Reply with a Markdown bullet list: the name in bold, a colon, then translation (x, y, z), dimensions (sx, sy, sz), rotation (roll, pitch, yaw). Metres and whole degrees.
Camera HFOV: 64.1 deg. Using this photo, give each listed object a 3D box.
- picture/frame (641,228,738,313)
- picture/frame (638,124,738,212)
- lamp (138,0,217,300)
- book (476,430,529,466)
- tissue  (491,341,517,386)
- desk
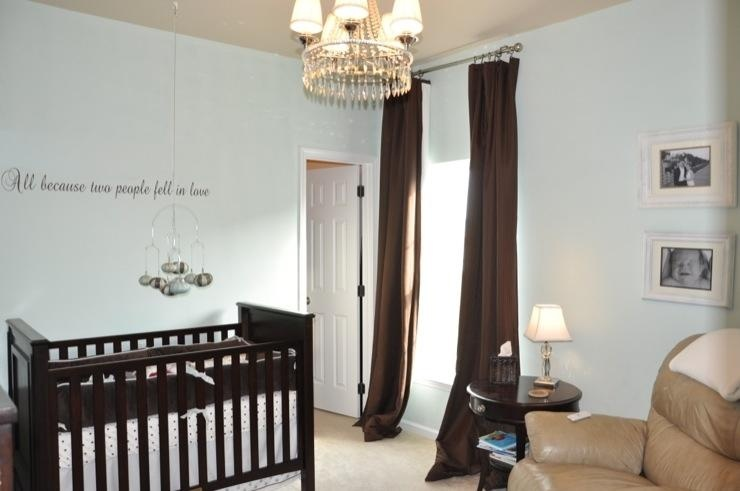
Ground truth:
- **picture/frame**: translation (2.176, 0.164, 3.967), dimensions (0.524, 0.540, 0.041), rotation (3, 2, 41)
- **picture/frame**: translation (2.183, -0.529, 3.991), dimensions (0.597, 0.552, 0.046), rotation (0, 0, 40)
- **lamp**: translation (-1.479, -0.695, 4.557), dimensions (0.591, 2.146, 0.520), rotation (-3, 5, -33)
- **book**: translation (0.911, 1.410, 4.183), dimensions (0.239, 0.061, 0.245), rotation (9, 12, 41)
- **tissue **: translation (0.974, 0.852, 4.317), dimensions (0.263, 0.372, 0.249), rotation (0, -1, 4)
- **desk**: translation (1.027, 1.292, 4.232), dimensions (0.793, 0.853, 0.805), rotation (-2, -3, 36)
